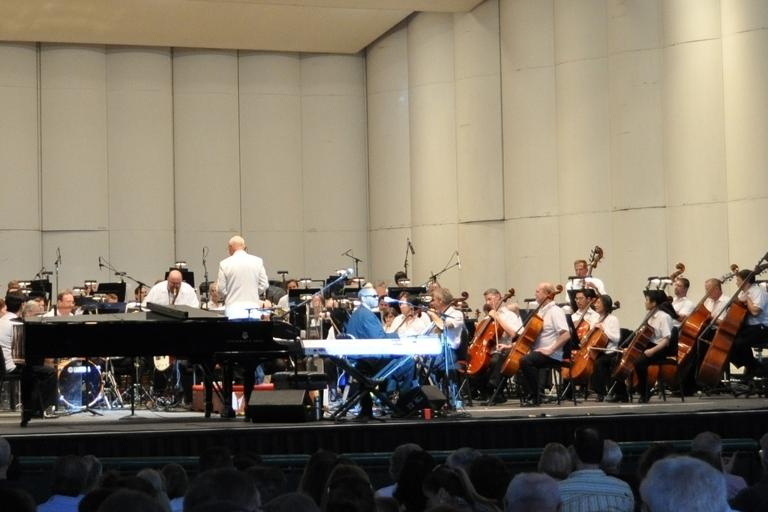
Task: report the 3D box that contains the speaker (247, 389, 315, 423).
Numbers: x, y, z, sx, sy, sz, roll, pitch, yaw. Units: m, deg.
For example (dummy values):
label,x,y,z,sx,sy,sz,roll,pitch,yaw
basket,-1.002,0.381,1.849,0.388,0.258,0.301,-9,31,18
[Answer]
label,x,y,z,sx,sy,sz,roll,pitch,yaw
speaker,-1.762,2.546,24.132,1.851,0.452,1.092,1,0,-18

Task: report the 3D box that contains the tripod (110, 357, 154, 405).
label,x,y,z,sx,sy,sz,roll,pitch,yaw
tripod,-4.842,2.469,27.798,0.872,1.111,0.981,-1,4,-7

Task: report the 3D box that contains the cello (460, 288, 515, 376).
label,x,y,z,sx,sy,sz,roll,pitch,yaw
cello,1.915,1.531,27.570,0.939,1.725,0.798,-2,3,-21

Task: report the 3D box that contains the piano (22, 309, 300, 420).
label,x,y,z,sx,sy,sz,roll,pitch,yaw
piano,-3.956,1.963,24.549,4.848,1.815,1.870,1,1,-19

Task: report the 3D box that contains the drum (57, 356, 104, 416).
label,x,y,z,sx,sy,sz,roll,pitch,yaw
drum,-5.668,2.448,26.969,0.743,1.160,0.785,1,2,0

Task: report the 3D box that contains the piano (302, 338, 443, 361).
label,x,y,z,sx,sy,sz,roll,pitch,yaw
piano,-0.180,1.569,24.230,2.584,0.300,1.051,3,1,-25

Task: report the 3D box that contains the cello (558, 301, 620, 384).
label,x,y,z,sx,sy,sz,roll,pitch,yaw
cello,3.977,1.682,27.119,0.673,1.851,0.822,43,-13,-19
